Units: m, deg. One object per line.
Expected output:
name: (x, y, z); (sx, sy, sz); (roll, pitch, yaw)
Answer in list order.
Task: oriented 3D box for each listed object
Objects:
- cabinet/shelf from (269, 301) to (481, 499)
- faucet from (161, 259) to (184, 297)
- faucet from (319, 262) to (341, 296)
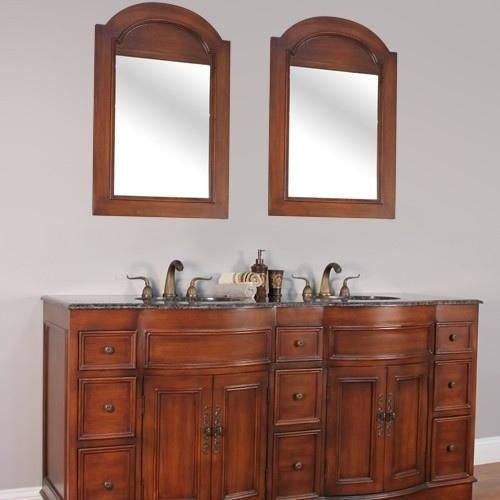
cabinet/shelf: (0.513, 0.653, 2.576); (1.088, 0.899, 0.500); (0, -1, -12)
faucet: (-0.352, 0.136, 2.665); (0.083, 0.176, 0.289); (0, -3, -9)
faucet: (0.404, 0.143, 2.899); (0.116, 0.180, 0.344); (-1, -4, 8)
